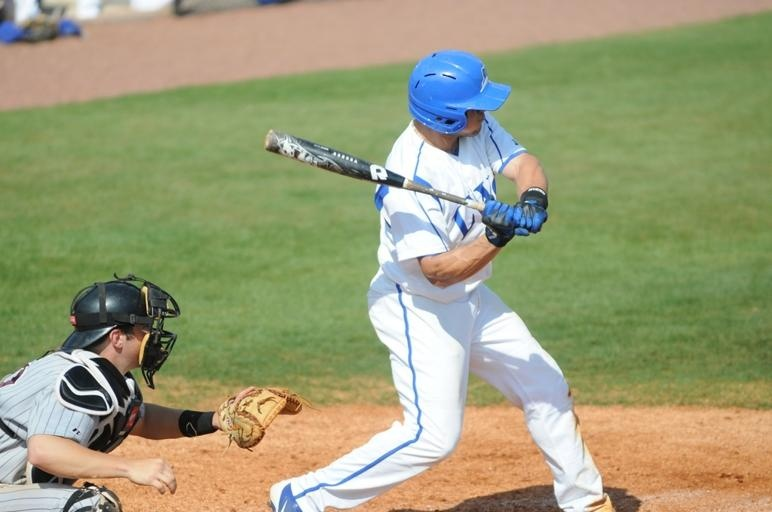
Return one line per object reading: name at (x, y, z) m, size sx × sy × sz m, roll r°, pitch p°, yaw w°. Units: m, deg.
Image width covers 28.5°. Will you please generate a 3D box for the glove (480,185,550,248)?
glove at (1.478, -0.410, 17.310) m, size 0.494 × 0.769 × 0.642 m, roll 1°, pitch 1°, yaw 12°
